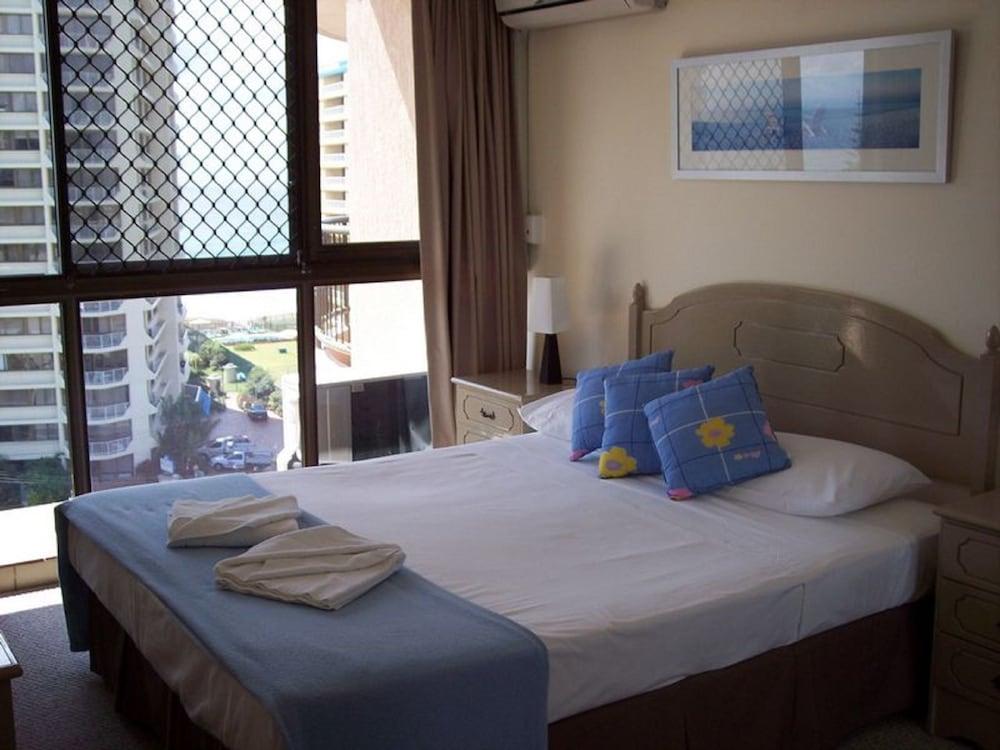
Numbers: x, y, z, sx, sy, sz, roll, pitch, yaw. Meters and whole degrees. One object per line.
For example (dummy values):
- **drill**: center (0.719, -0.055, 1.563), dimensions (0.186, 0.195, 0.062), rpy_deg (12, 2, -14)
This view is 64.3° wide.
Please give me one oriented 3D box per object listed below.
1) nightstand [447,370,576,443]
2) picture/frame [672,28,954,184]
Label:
- **nightstand**: center (0.050, 0.102, 4.775), dimensions (0.421, 0.588, 0.550), rpy_deg (-6, 12, -32)
- **picture/frame**: center (1.456, -1.220, 3.598), dimensions (0.032, 0.446, 0.864), rpy_deg (-9, 13, -44)
